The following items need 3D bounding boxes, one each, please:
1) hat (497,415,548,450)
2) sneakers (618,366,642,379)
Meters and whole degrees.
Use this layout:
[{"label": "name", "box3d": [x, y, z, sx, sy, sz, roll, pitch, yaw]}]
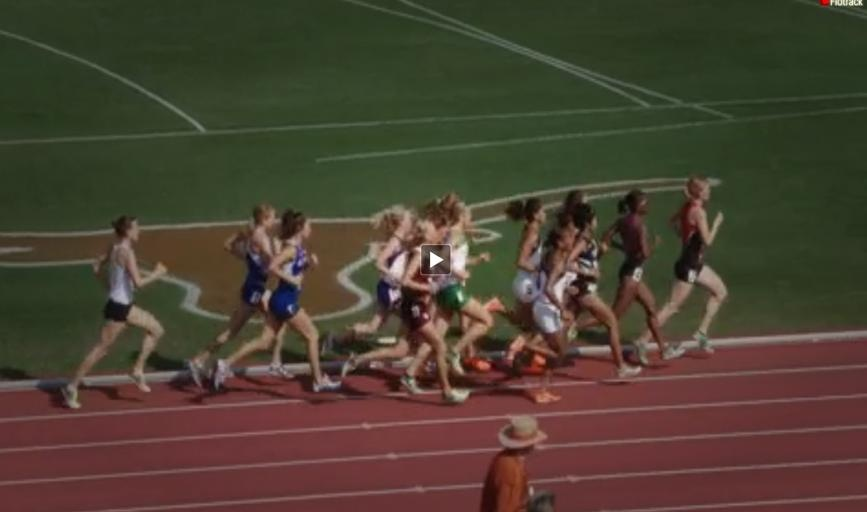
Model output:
[{"label": "hat", "box3d": [1.638, 3.236, 20.672, 0.805, 0.316, 0.686, -11, 32, -8]}, {"label": "sneakers", "box3d": [4.144, 2.436, 23.596, 0.504, 0.235, 0.204, -4, 8, -1]}]
